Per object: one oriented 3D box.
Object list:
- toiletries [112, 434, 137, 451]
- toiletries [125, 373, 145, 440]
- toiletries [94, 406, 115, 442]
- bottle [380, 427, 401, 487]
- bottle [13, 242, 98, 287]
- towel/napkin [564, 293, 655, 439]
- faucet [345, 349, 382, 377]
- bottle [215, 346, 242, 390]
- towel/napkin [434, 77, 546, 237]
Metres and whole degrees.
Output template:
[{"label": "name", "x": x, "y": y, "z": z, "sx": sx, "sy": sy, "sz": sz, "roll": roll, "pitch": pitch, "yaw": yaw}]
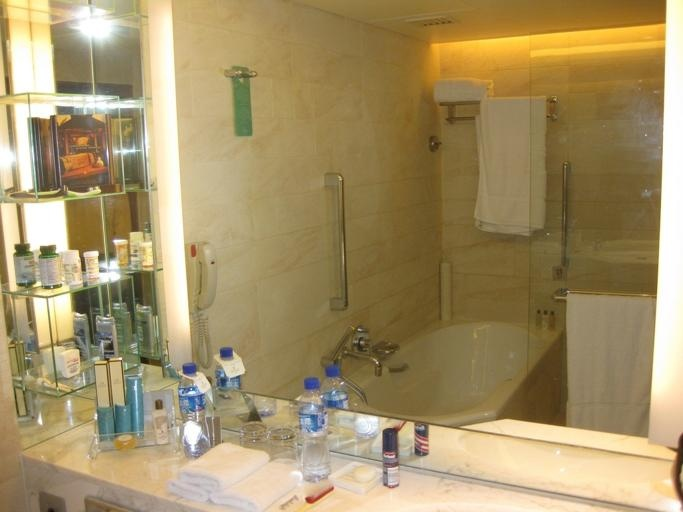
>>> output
[{"label": "toiletries", "x": -0.631, "y": 0.541, "z": 1.647, "sx": 0.050, "sy": 0.025, "sz": 0.049, "roll": 8, "pitch": 15, "yaw": 12}, {"label": "toiletries", "x": -0.624, "y": 0.444, "z": 1.708, "sx": 0.046, "sy": 0.175, "sz": 0.044, "roll": 0, "pitch": -7, "yaw": -40}, {"label": "toiletries", "x": -0.699, "y": 0.496, "z": 1.672, "sx": 0.044, "sy": 0.065, "sz": 0.041, "roll": -6, "pitch": -14, "yaw": -4}, {"label": "bottle", "x": 0.139, "y": 0.526, "z": 1.494, "sx": 0.036, "sy": 0.155, "sz": 0.063, "roll": 6, "pitch": 13, "yaw": 43}, {"label": "bottle", "x": -0.873, "y": 0.036, "z": 1.691, "sx": 0.194, "sy": 0.117, "sz": 0.149, "roll": 0, "pitch": 0, "yaw": -4}, {"label": "towel/napkin", "x": 0.669, "y": 0.267, "z": 1.405, "sx": 0.199, "sy": 0.361, "sz": 0.029, "roll": 0, "pitch": 10, "yaw": 17}, {"label": "faucet", "x": 0.071, "y": 0.289, "z": 1.562, "sx": 0.039, "sy": 0.055, "sz": 0.147, "roll": -9, "pitch": 14, "yaw": -42}, {"label": "bottle", "x": -0.357, "y": 0.378, "z": 1.816, "sx": 0.091, "sy": 0.156, "sz": 0.090, "roll": 1, "pitch": 27, "yaw": -1}, {"label": "towel/napkin", "x": 0.359, "y": -0.238, "z": 1.361, "sx": 0.258, "sy": 0.373, "sz": 0.064, "roll": 0, "pitch": 10, "yaw": 16}]
